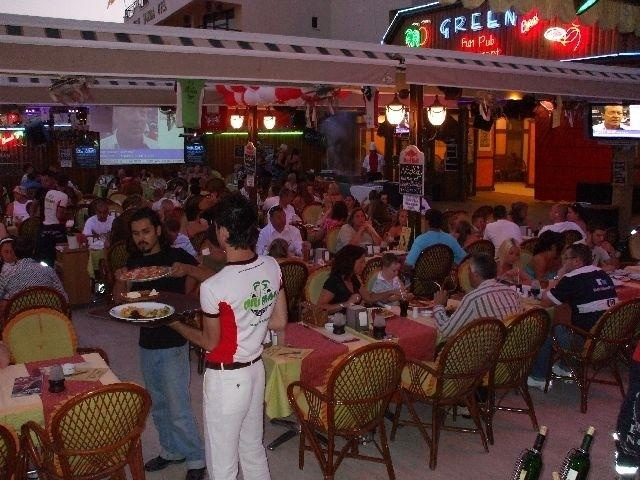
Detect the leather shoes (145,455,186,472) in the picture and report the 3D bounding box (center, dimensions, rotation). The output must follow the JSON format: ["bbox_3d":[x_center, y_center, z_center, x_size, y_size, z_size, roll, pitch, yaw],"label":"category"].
[{"bbox_3d":[-1.344,1.912,4.358,0.313,0.154,0.130,5,-2,-23],"label":"leather shoes"}]

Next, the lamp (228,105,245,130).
[{"bbox_3d":[-2.300,-3.352,13.753,0.449,0.563,0.829,-1,10,-10],"label":"lamp"}]

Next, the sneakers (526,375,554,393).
[{"bbox_3d":[2.600,1.707,5.965,0.221,0.114,0.277,2,2,42],"label":"sneakers"}]

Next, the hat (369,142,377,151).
[{"bbox_3d":[2.058,-3.648,19.337,0.286,0.454,0.441,0,5,8],"label":"hat"}]

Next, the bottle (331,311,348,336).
[{"bbox_3d":[0.184,0.815,4.879,0.154,0.249,0.169,0,5,0],"label":"bottle"}]

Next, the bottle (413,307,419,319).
[{"bbox_3d":[1.063,0.804,5.508,0.083,0.162,0.094,-1,1,13],"label":"bottle"}]

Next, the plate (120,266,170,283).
[{"bbox_3d":[-1.352,0.256,3.879,0.390,0.082,0.291,-3,11,-18],"label":"plate"}]

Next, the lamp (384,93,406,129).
[{"bbox_3d":[1.422,-2.449,9.375,0.333,0.667,0.369,-1,16,4],"label":"lamp"}]

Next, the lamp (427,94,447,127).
[{"bbox_3d":[2.263,-2.490,9.600,0.340,0.607,0.360,2,19,19],"label":"lamp"}]

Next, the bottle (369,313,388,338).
[{"bbox_3d":[0.540,0.804,4.876,0.166,0.265,0.181,-1,10,0],"label":"bottle"}]

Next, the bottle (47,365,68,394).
[{"bbox_3d":[-1.917,1.009,3.669,0.148,0.189,0.156,2,2,0],"label":"bottle"}]
